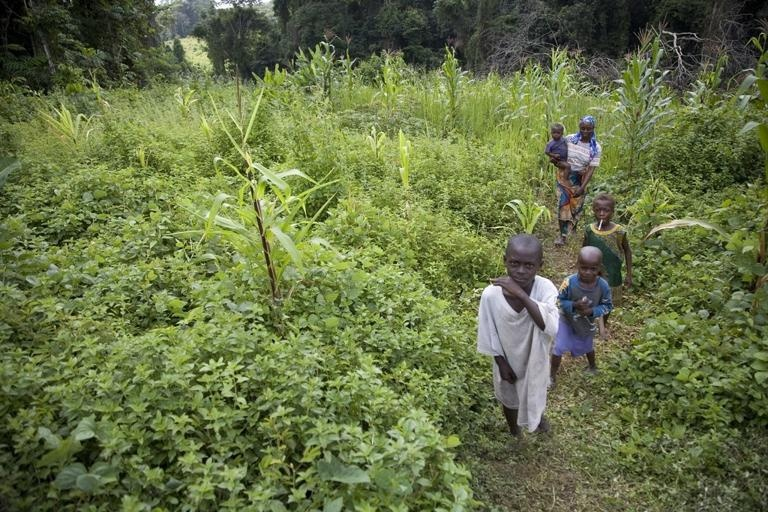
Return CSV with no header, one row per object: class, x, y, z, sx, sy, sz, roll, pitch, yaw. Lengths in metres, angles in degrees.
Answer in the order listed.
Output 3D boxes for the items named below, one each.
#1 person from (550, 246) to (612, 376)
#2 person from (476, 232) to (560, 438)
person,2.171,0.640,6.072,0.548,1.451,0.596,6,27,21
person,1.296,0.797,5.434,0.701,2.020,0.591,12,30,31
